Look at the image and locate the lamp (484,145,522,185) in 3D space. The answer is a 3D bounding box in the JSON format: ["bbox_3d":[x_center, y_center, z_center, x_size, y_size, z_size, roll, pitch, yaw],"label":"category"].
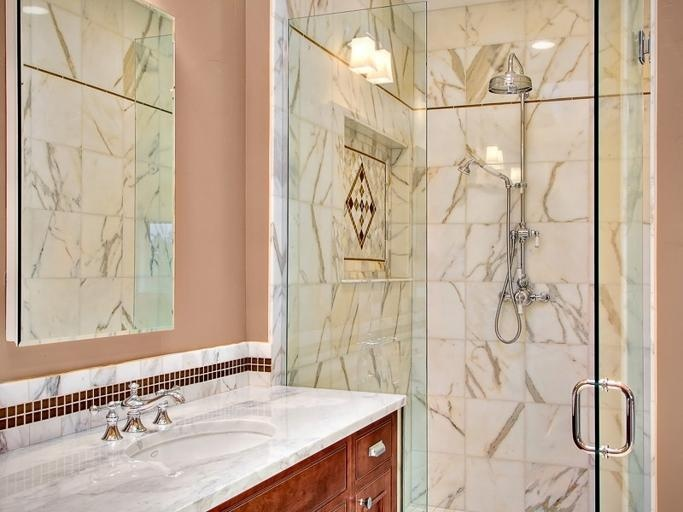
[{"bbox_3d":[1.038,-0.588,3.680,0.103,0.187,0.377,5,7,-3],"label":"lamp"}]

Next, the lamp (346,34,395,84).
[{"bbox_3d":[0.152,-0.965,2.815,0.143,0.191,0.269,-4,-16,26],"label":"lamp"}]
